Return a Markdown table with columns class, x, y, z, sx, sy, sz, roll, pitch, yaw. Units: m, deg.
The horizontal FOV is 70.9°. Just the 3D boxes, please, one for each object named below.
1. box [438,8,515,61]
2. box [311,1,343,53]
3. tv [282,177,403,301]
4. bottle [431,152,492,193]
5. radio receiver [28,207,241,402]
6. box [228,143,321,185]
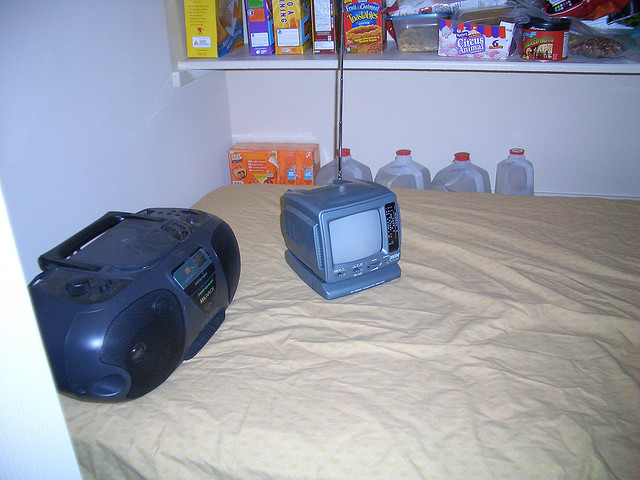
| class | x | y | z | sx | sy | sz | roll | pitch | yaw |
| --- | --- | --- | --- | --- | --- | --- | --- | --- | --- |
| box | 0.577 | -0.756 | 1.677 | 0.225 | 0.134 | 0.215 | -8 | 42 | -10 |
| box | 0.029 | -0.809 | 1.702 | 0.099 | 0.235 | 0.276 | 4 | 40 | 6 |
| tv | 0.059 | -0.019 | 1.310 | 0.358 | 0.245 | 0.355 | -1 | 24 | 0 |
| bottle | 0.658 | -0.307 | 2.050 | 0.196 | 0.275 | 0.108 | -4 | 38 | 29 |
| radio receiver | -0.416 | 0.118 | 1.089 | 0.309 | 0.279 | 0.560 | 7 | 30 | 12 |
| box | -0.223 | -0.293 | 2.125 | 0.384 | 0.128 | 0.219 | 1 | 55 | -14 |
